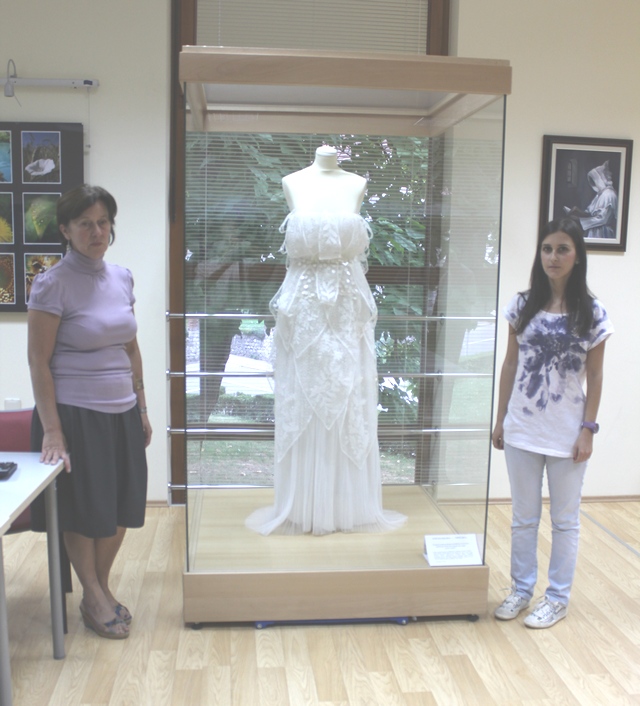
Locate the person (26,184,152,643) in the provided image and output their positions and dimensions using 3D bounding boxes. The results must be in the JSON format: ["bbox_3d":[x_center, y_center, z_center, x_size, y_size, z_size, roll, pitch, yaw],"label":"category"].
[{"bbox_3d":[-0.785,0.215,2.291,0.241,1.562,0.490,4,5,38],"label":"person"}]

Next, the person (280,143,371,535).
[{"bbox_3d":[0.033,-0.047,2.555,0.416,1.471,0.158,0,4,-5],"label":"person"}]

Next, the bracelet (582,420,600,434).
[{"bbox_3d":[0.961,0.260,2.311,0.044,0.040,0.054,0,-4,6],"label":"bracelet"}]

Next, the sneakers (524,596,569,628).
[{"bbox_3d":[0.856,0.953,2.467,0.203,0.087,0.072,1,3,-43],"label":"sneakers"}]

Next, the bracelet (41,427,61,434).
[{"bbox_3d":[-0.867,0.249,2.111,0.055,0.023,0.029,0,4,-5],"label":"bracelet"}]

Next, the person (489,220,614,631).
[{"bbox_3d":[0.857,0.266,2.410,0.355,1.478,0.204,2,4,25],"label":"person"}]

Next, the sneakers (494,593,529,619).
[{"bbox_3d":[0.733,0.945,2.510,0.059,0.077,0.181,5,5,42],"label":"sneakers"}]
